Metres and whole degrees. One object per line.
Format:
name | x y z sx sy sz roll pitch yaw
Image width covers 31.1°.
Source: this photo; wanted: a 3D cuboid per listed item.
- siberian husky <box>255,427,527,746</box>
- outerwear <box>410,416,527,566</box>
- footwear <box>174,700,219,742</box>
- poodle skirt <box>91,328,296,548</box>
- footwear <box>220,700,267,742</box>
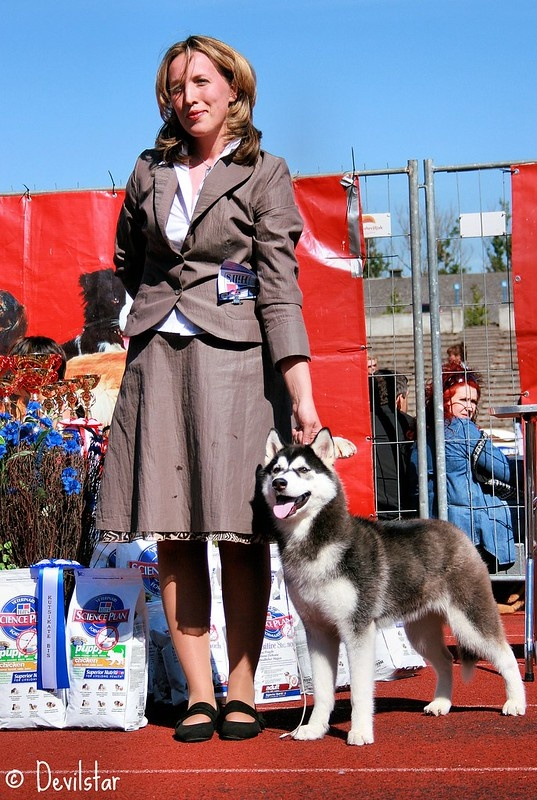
siberian husky | 0.434 0.699 3.523 1.165 1.042 0.370 8 -10 -33
outerwear | 1.305 0.647 6.799 0.796 1.000 0.762 2 -4 -23
footwear | -0.245 1.103 3.298 0.138 0.112 0.211 12 4 0
poodle skirt | -0.244 0.151 3.343 0.615 0.592 0.461 11 4 -10
footwear | -0.097 1.111 3.308 0.125 0.103 0.153 11 4 -3
